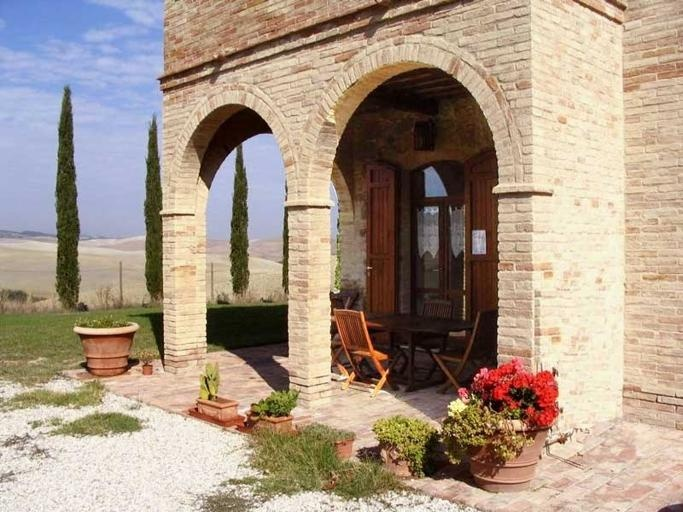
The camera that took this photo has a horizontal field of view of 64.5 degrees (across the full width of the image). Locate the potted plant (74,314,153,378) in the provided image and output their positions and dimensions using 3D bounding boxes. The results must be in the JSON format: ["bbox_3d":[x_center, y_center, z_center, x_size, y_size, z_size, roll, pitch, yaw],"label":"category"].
[{"bbox_3d":[-3.816,1.499,9.178,1.039,0.711,0.990,-1,-6,11],"label":"potted plant"}]

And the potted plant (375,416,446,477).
[{"bbox_3d":[0.635,1.880,5.313,0.638,0.498,0.322,0,4,9],"label":"potted plant"}]

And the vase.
[{"bbox_3d":[1.555,1.952,5.148,0.610,0.426,0.632,-4,-13,25],"label":"vase"}]

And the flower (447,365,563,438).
[{"bbox_3d":[1.532,1.288,4.961,0.827,0.595,0.366,0,4,14],"label":"flower"}]
